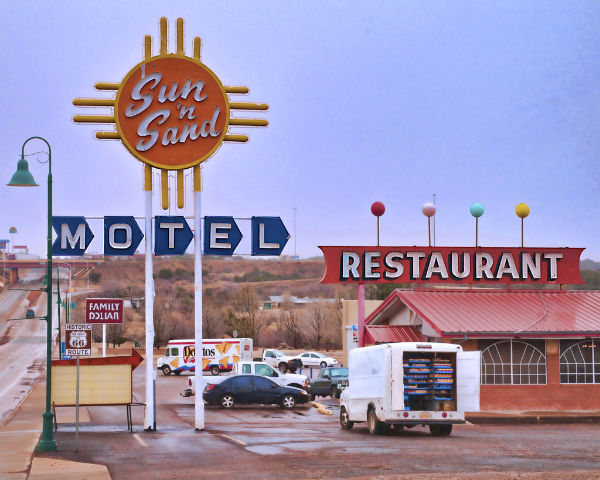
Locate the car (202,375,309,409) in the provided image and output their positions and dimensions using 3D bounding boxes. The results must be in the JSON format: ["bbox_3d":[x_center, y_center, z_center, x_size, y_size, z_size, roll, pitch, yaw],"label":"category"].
[{"bbox_3d":[-1.709,7.229,51.665,5.024,1.824,2.095,-1,-1,3],"label":"car"}]

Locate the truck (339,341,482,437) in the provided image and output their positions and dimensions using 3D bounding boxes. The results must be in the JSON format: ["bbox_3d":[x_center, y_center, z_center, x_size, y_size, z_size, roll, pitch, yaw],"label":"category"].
[{"bbox_3d":[4.366,5.692,40.798,4.297,3.430,5.615,-2,-10,-1],"label":"truck"}]

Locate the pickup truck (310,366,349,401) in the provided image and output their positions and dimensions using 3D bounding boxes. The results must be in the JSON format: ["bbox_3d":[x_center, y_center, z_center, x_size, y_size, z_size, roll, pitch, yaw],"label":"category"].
[{"bbox_3d":[1.980,7.402,55.607,1.395,1.263,2.566,5,-14,-42],"label":"pickup truck"}]

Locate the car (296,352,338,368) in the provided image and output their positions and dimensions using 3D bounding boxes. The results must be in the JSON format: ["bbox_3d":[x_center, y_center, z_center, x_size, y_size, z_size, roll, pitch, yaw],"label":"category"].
[{"bbox_3d":[1.549,8.917,79.238,2.592,0.971,1.178,-4,-2,25],"label":"car"}]

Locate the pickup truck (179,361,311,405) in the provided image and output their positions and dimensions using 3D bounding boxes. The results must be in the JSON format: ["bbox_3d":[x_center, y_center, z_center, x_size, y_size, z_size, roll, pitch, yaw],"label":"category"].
[{"bbox_3d":[-1.474,7.247,54.469,7.061,2.489,3.020,2,-7,-19],"label":"pickup truck"}]

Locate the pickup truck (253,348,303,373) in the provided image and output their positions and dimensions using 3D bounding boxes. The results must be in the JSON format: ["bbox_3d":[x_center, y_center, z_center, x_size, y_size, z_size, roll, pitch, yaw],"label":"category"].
[{"bbox_3d":[-0.988,8.849,77.924,2.939,1.355,1.232,-5,-4,42],"label":"pickup truck"}]
